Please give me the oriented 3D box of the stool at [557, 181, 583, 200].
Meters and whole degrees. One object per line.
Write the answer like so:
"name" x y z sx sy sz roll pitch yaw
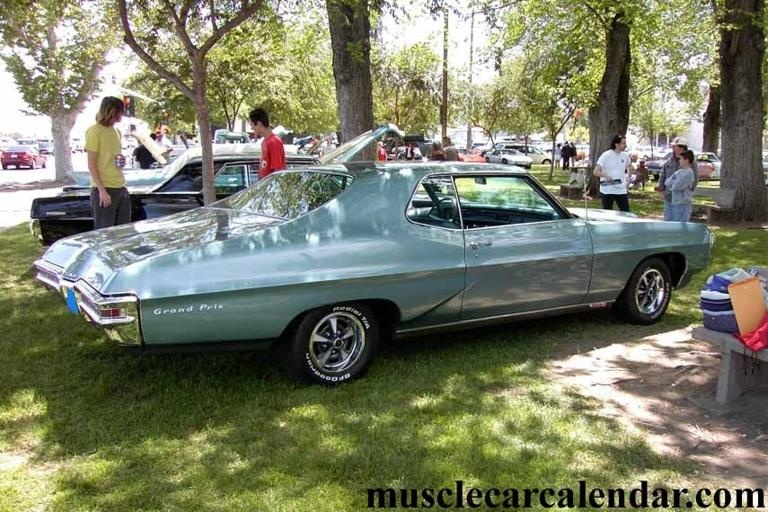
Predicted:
"stool" 6.798 -2.493 18.932 0.512 0.466 0.942 -4 9 -11

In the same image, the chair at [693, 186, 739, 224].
"chair" 9.281 -1.444 15.265 0.627 0.937 1.901 -5 9 -4
